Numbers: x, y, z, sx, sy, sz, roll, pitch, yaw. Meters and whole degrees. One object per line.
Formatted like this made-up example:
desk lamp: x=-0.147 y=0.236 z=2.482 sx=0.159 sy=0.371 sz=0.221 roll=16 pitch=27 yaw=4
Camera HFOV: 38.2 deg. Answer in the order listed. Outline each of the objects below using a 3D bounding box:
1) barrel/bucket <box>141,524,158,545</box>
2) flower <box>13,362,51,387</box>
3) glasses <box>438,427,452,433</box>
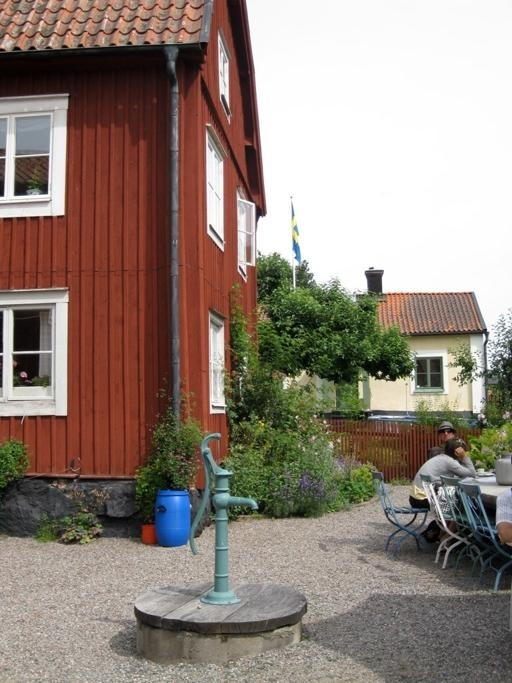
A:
barrel/bucket: x=-1.216 y=2.179 z=8.386 sx=0.187 sy=0.204 sz=0.187 roll=0 pitch=-8 yaw=0
flower: x=-2.843 y=0.398 z=9.342 sx=0.388 sy=0.357 sz=0.264 roll=-3 pitch=0 yaw=6
glasses: x=2.389 y=1.108 z=9.312 sx=0.100 sy=0.032 sz=0.102 roll=0 pitch=-18 yaw=-4
